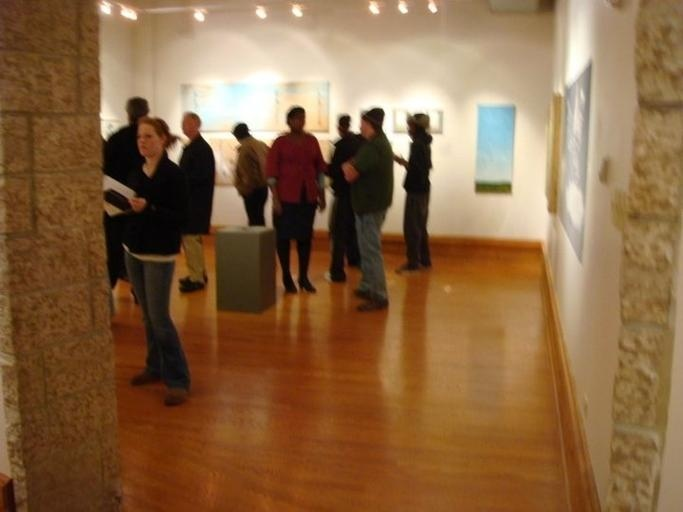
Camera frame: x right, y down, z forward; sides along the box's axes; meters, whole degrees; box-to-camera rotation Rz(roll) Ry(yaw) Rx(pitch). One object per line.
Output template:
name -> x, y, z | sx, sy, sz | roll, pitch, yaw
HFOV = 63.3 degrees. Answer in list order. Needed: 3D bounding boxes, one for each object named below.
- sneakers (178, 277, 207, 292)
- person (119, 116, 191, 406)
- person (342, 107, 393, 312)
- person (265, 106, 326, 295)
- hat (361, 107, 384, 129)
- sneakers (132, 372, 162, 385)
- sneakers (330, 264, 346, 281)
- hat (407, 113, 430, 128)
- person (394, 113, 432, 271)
sneakers -> -1.797, 0.342, 6.605 | 0.248, 0.102, 0.142 | 6, 11, -43
person -> -1.250, 0.036, 3.674 | 0.379, 1.867, 0.491 | -9, 13, -43
person -> 0.259, -0.452, 5.689 | 0.482, 2.065, 0.309 | 1, 10, 5
person -> -0.483, -0.573, 6.202 | 0.483, 2.091, 0.685 | 4, 11, 23
hat -> 0.302, -1.388, 5.567 | 0.218, 0.215, 0.255 | 1, 11, 1
sneakers -> -1.424, 0.892, 4.041 | 0.206, 0.091, 0.082 | 11, 8, -28
sneakers -> -0.065, 0.211, 7.027 | 0.132, 0.263, 0.261 | -2, 15, -9
hat -> 0.993, -1.772, 7.232 | 0.280, 0.199, 0.278 | 1, 11, 4
person -> 0.987, -0.836, 7.510 | 0.390, 2.111, 0.586 | 4, 10, 21
